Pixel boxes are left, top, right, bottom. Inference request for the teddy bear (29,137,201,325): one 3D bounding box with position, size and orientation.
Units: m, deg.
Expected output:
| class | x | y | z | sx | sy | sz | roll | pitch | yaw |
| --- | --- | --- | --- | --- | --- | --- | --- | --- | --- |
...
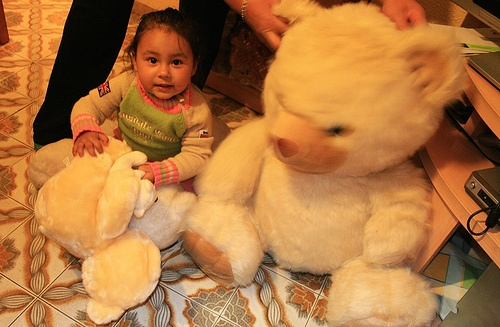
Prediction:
| class | x | y | z | sx | sy | sz | roll | pitch | yaw |
| --- | --- | --- | --- | --- | --- | --- | --- | --- | --- |
| teddy bear | -0.567 | 0.225 | 1.678 | 0.605 | 0.299 | 0.648 | 44 | 74 | -10 |
